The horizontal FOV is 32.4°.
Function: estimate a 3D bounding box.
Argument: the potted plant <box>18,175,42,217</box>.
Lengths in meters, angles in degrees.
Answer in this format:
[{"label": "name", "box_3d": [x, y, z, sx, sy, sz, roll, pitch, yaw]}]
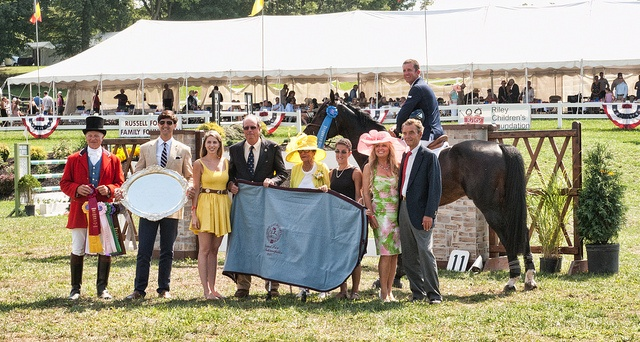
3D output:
[{"label": "potted plant", "box_3d": [-16.369, 1.395, 61.685, 1.163, 2.215, 0.637, -2, 3, -7]}]
